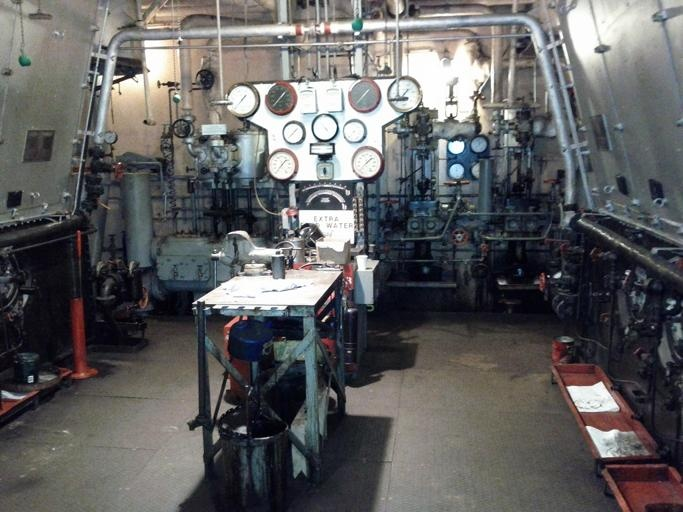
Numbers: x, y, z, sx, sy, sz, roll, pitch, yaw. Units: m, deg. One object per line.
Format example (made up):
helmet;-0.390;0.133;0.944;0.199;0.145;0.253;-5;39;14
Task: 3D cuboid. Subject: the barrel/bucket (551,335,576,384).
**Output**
barrel/bucket;2.646;1.130;7.112;0.236;0.279;0.318;4;15;18
